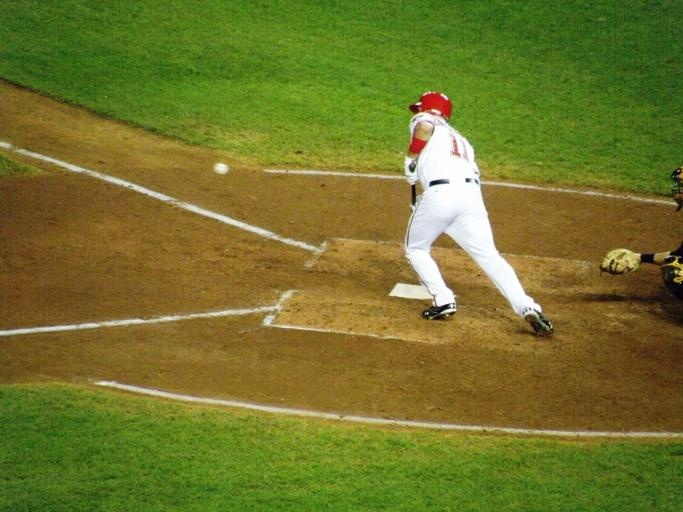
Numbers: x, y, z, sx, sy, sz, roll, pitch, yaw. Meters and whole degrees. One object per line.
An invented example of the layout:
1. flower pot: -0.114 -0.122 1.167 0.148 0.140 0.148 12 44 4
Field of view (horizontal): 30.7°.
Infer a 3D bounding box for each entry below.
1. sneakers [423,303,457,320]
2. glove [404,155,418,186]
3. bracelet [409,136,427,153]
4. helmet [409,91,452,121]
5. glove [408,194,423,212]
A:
1. sneakers: 1.502 0.847 19.089 0.562 0.230 0.210 -2 28 -1
2. glove: 1.059 -1.300 18.982 0.161 0.366 0.274 3 11 6
3. bracelet: 1.128 -1.669 18.890 0.259 0.207 0.224 21 11 1
4. helmet: 1.320 -2.330 19.247 0.674 0.332 0.449 26 21 19
5. glove: 1.168 -0.804 18.917 0.120 0.257 0.198 23 1 -16
